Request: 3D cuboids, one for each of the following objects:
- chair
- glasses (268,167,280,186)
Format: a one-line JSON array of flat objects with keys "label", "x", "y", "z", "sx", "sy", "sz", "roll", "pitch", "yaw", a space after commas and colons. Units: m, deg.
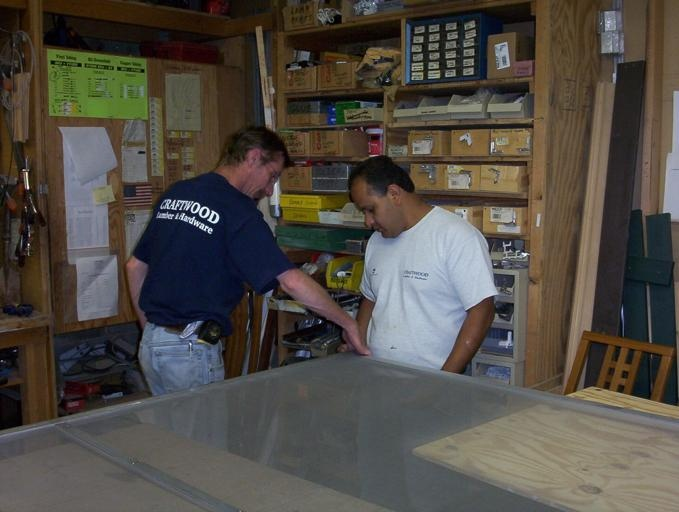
[{"label": "chair", "x": 1.495, "y": 0.577, "z": 2.932, "sx": 0.304, "sy": 0.513, "sz": 0.367, "roll": -2, "pitch": -34, "yaw": 41}, {"label": "glasses", "x": -0.295, "y": -0.343, "z": 2.412, "sx": 0.057, "sy": 0.054, "sz": 0.059, "roll": 39, "pitch": 41, "yaw": 26}]
